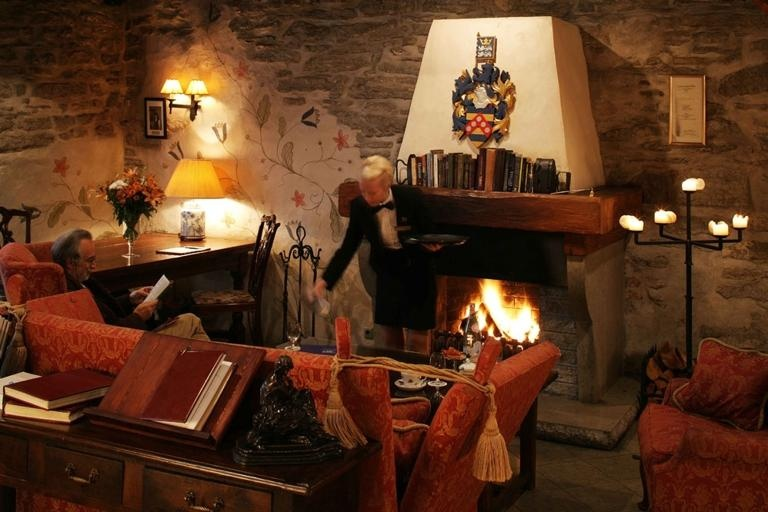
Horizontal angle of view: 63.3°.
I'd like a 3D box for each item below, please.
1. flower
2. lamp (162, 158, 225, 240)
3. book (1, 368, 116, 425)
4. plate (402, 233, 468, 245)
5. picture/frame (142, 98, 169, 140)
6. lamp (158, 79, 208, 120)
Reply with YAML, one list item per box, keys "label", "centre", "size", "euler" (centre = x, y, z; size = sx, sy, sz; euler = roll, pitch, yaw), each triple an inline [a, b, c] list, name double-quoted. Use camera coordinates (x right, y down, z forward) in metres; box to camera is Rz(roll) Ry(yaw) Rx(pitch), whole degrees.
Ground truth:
- label: "flower"
  centre: [-2.252, -0.467, 5.448]
  size: [0.526, 0.548, 0.537]
  euler: [6, 5, 9]
- label: "lamp"
  centre: [-1.883, -0.535, 6.039]
  size: [0.614, 0.771, 0.652]
  euler: [3, 6, 27]
- label: "book"
  centre: [-1.358, 0.573, 2.650]
  size: [0.239, 0.061, 0.256]
  euler: [6, 9, 11]
- label: "plate"
  centre: [0.353, -0.117, 4.377]
  size: [0.422, 0.072, 0.222]
  euler: [0, 5, -19]
- label: "picture/frame"
  centre: [-2.327, -1.408, 6.288]
  size: [0.394, 0.555, 0.055]
  euler: [4, 9, 28]
- label: "lamp"
  centre: [-1.971, -1.539, 6.126]
  size: [0.448, 0.382, 0.316]
  euler: [3, 12, -2]
